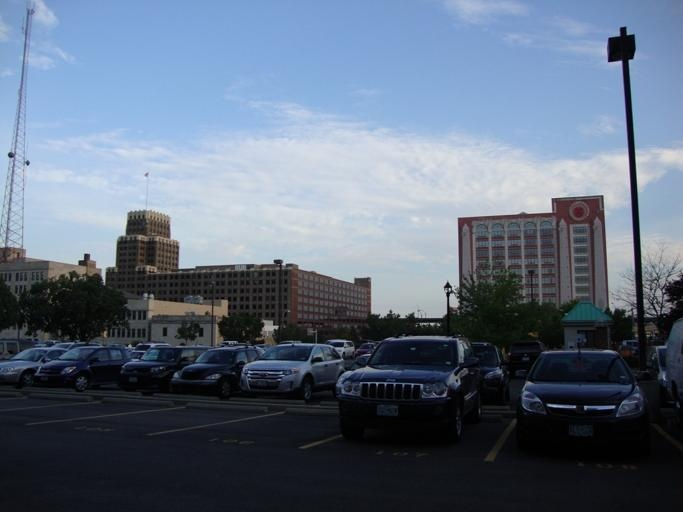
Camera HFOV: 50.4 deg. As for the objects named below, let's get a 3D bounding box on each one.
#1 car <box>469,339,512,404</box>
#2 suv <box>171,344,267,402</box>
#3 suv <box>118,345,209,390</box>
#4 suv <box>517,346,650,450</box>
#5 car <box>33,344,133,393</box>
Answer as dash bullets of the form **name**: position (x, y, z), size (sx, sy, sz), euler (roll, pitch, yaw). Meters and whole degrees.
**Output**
- **car**: position (4.571, 3.662, 22.606), size (1.204, 1.105, 2.620), euler (-3, -10, 13)
- **suv**: position (-3.911, 3.705, 23.892), size (1.355, 1.083, 2.807), euler (-3, -8, 21)
- **suv**: position (-6.058, 3.852, 25.226), size (1.504, 1.053, 2.642), euler (-4, -9, 26)
- **suv**: position (4.668, 2.674, 14.024), size (1.519, 1.178, 2.644), euler (-3, -16, 13)
- **car**: position (-9.164, 4.071, 26.462), size (1.677, 1.351, 2.891), euler (-4, -10, 26)
